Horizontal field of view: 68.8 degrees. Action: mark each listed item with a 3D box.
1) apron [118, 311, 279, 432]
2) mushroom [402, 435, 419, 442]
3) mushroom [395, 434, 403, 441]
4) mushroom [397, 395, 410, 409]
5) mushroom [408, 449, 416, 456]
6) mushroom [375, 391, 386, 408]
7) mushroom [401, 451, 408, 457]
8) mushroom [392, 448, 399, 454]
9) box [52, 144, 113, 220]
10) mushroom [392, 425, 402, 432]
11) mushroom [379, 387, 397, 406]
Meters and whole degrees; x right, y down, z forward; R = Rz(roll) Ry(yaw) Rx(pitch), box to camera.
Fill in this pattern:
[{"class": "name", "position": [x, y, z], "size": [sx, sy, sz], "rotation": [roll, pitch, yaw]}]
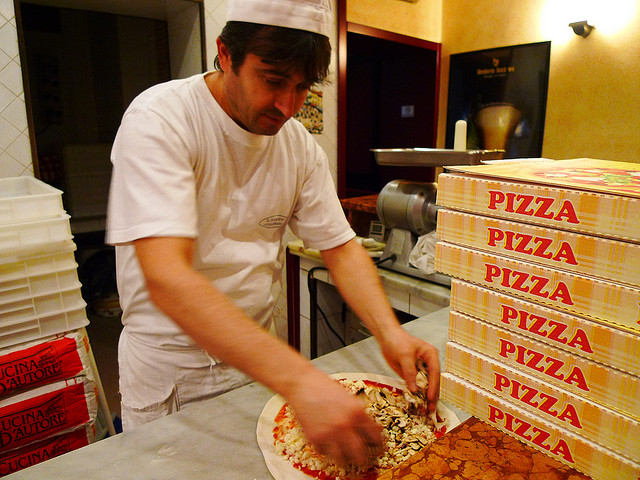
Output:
[{"class": "apron", "position": [-0.505, 0.514, 1.681], "size": [0.488, 0.385, 0.149], "rotation": [-1, 13, 3]}, {"class": "mushroom", "position": [0.238, 0.520, 1.223], "size": [0.019, 0.005, 0.016], "rotation": [-7, 9, -6]}, {"class": "mushroom", "position": [0.210, 0.517, 1.227], "size": [0.011, 0.015, 0.019], "rotation": [16, 9, 26]}, {"class": "mushroom", "position": [0.238, 0.460, 1.323], "size": [0.025, 0.008, 0.025], "rotation": [6, 12, 20]}, {"class": "mushroom", "position": [0.235, 0.537, 1.186], "size": [0.018, 0.010, 0.021], "rotation": [5, 15, 24]}, {"class": "mushroom", "position": [0.174, 0.454, 1.332], "size": [0.017, 0.009, 0.033], "rotation": [-5, 26, -17]}, {"class": "mushroom", "position": [0.217, 0.541, 1.183], "size": [0.018, 0.004, 0.010], "rotation": [-6, 14, -21]}, {"class": "mushroom", "position": [0.195, 0.536, 1.194], "size": [0.018, 0.003, 0.010], "rotation": [-10, 16, -33]}, {"class": "box", "position": [-1.832, -0.473, 3.563], "size": [0.391, 0.704, 0.454], "rotation": [-9, 18, -37]}, {"class": "mushroom", "position": [0.207, 0.503, 1.248], "size": [0.021, 0.007, 0.017], "rotation": [5, 15, 24]}, {"class": "mushroom", "position": [0.201, 0.448, 1.345], "size": [0.020, 0.017, 0.067], "rotation": [3, 13, -13]}]
